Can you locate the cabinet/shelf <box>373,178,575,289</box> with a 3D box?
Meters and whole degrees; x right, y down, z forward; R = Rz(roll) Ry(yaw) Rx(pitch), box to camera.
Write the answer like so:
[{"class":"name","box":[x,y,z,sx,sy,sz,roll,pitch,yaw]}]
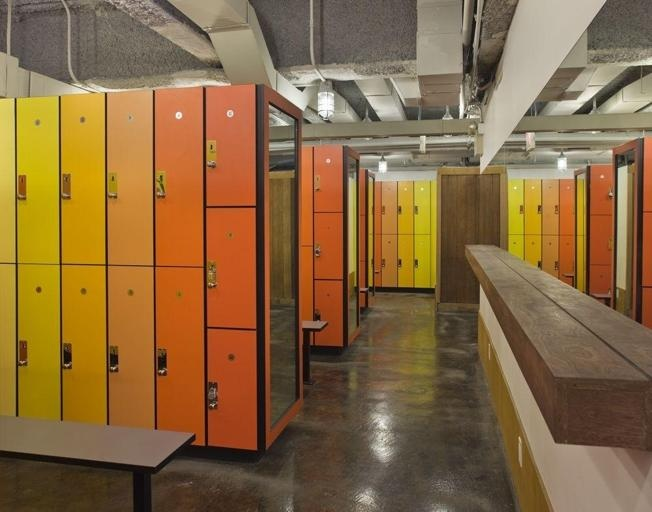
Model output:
[{"class":"cabinet/shelf","box":[2.608,-0.515,9.483,2.320,2.394,0.781,0,0,4]}]
